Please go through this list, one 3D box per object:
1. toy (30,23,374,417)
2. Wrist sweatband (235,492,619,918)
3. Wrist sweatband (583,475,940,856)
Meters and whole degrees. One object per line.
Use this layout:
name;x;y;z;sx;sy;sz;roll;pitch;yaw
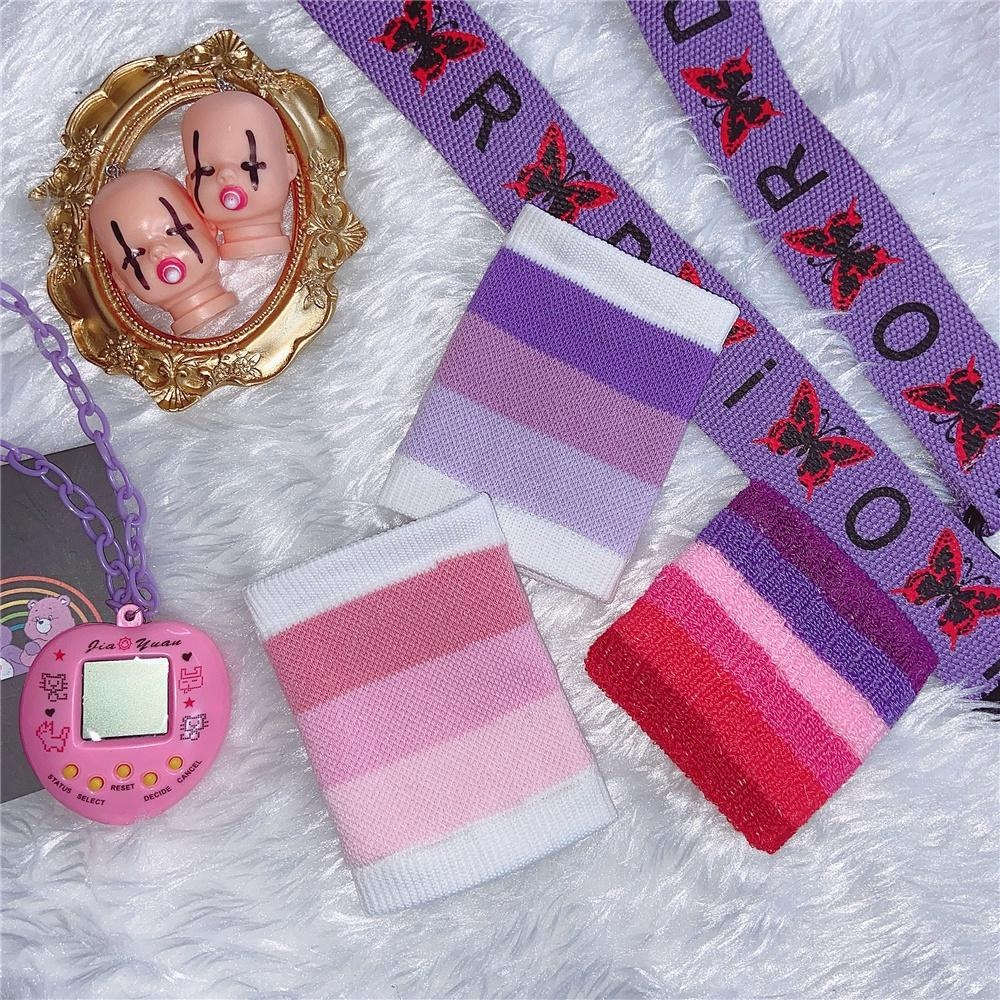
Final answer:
toy;-0.244;-0.228;0.965;0.268;0.067;0.270;-22;79;-1
Wrist sweatband;-0.054;0.159;0.921;0.199;0.055;0.279;-20;79;-1
Wrist sweatband;0.212;0.130;0.951;0.217;0.049;0.225;43;84;9
